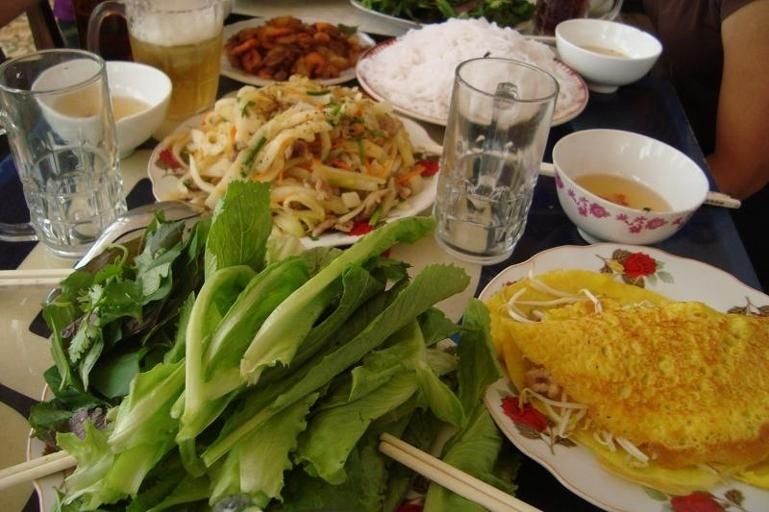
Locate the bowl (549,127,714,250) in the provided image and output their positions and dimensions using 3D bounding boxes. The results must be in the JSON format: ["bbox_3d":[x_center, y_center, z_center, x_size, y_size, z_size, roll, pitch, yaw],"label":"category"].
[{"bbox_3d":[0.542,-0.167,1.319,0.293,0.145,0.303,2,41,-1],"label":"bowl"}]

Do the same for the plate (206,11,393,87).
[{"bbox_3d":[-0.246,-0.578,1.681,0.489,0.182,0.348,14,29,32],"label":"plate"}]

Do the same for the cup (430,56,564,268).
[{"bbox_3d":[0.179,-0.173,1.352,0.268,0.449,0.317,24,46,24],"label":"cup"}]
